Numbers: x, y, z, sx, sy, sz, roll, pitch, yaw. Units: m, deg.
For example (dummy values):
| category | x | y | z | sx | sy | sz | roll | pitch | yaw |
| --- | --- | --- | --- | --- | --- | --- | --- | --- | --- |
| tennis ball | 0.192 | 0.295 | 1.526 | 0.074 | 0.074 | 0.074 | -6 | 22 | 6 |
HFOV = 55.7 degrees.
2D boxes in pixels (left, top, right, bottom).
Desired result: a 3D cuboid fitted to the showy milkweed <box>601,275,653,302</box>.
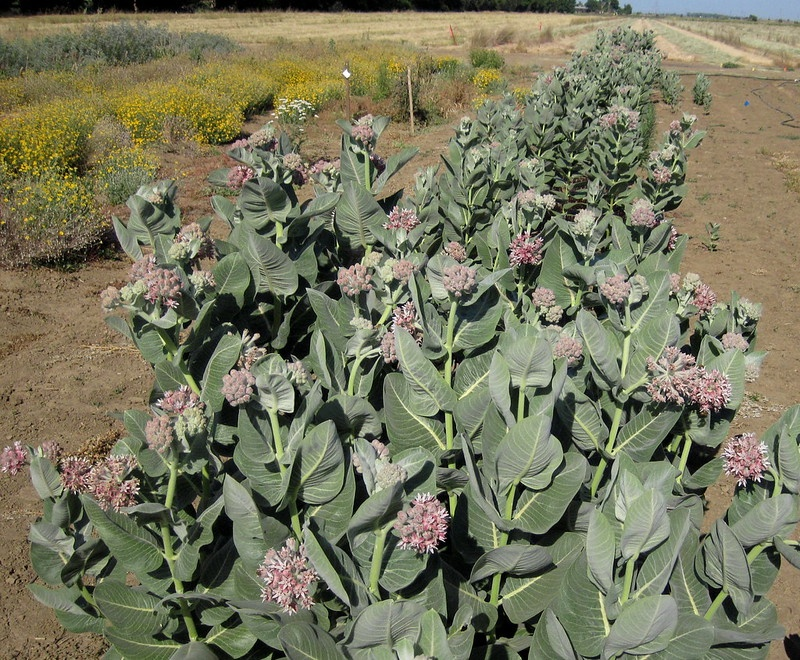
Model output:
| category | x | y | z | sx | sy | sz | roll | pitch | yaw |
| --- | --- | --- | --- | --- | --- | --- | --- | --- | --- |
| showy milkweed | 1.263 | -0.220 | 4.261 | 0.187 | 0.104 | 0.174 | -12 | 68 | 2 |

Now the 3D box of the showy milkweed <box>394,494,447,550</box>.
| category | x | y | z | sx | sy | sz | roll | pitch | yaw |
| --- | --- | --- | --- | --- | --- | --- | --- | --- | --- |
| showy milkweed | 0.108 | 0.894 | 3.466 | 0.228 | 0.279 | 0.168 | 1 | 2 | -16 |

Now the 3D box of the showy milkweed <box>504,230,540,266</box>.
| category | x | y | z | sx | sy | sz | roll | pitch | yaw |
| --- | --- | --- | --- | --- | --- | --- | --- | --- | --- |
| showy milkweed | 0.836 | -0.539 | 5.110 | 0.188 | 0.164 | 0.233 | -5 | 54 | -4 |

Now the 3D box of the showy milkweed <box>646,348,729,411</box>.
| category | x | y | z | sx | sy | sz | roll | pitch | yaw |
| --- | --- | --- | --- | --- | --- | --- | --- | --- | --- |
| showy milkweed | 1.522 | 0.258 | 4.043 | 0.419 | 0.317 | 0.236 | 15 | 11 | 25 |

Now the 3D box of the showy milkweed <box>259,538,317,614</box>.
| category | x | y | z | sx | sy | sz | roll | pitch | yaw |
| --- | --- | --- | --- | --- | --- | --- | --- | --- | --- |
| showy milkweed | -0.503 | 1.161 | 3.599 | 0.293 | 0.348 | 0.199 | -6 | -1 | 22 |

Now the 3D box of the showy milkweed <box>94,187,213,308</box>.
| category | x | y | z | sx | sy | sz | roll | pitch | yaw |
| --- | --- | --- | --- | --- | --- | --- | --- | --- | --- |
| showy milkweed | -1.377 | -0.398 | 4.439 | 0.567 | 0.346 | 0.943 | -33 | 46 | 14 |

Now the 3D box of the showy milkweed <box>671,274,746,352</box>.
| category | x | y | z | sx | sy | sz | roll | pitch | yaw |
| --- | --- | --- | --- | --- | --- | --- | --- | --- | --- |
| showy milkweed | 1.962 | -0.096 | 4.781 | 0.480 | 0.261 | 0.557 | 17 | 13 | -32 |
